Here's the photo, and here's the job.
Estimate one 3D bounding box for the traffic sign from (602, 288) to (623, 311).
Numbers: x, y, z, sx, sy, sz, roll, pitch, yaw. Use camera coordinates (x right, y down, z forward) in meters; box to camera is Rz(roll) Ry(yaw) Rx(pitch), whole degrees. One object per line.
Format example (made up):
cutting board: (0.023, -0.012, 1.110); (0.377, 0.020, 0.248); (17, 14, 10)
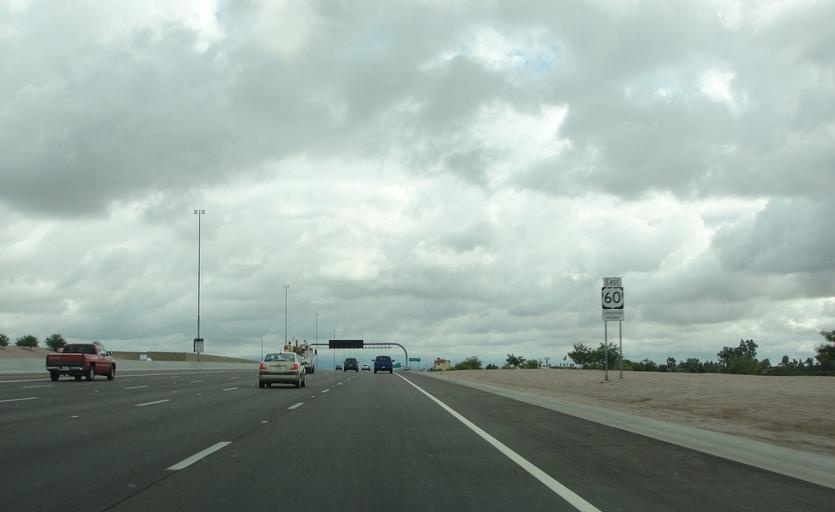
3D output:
traffic sign: (10.363, 2.309, 44.431); (1.089, 1.153, 0.154); (1, -11, 7)

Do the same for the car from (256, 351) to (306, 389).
car: (-6.649, 5.591, 41.228); (1.889, 1.744, 2.445); (1, -3, -1)

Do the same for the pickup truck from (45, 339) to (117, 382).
pickup truck: (-17.987, 5.612, 44.816); (1.778, 1.618, 3.567); (1, -3, 15)

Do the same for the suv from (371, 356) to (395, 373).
suv: (-3.233, 10.096, 78.776); (1.346, 1.531, 2.860); (2, -3, -11)
